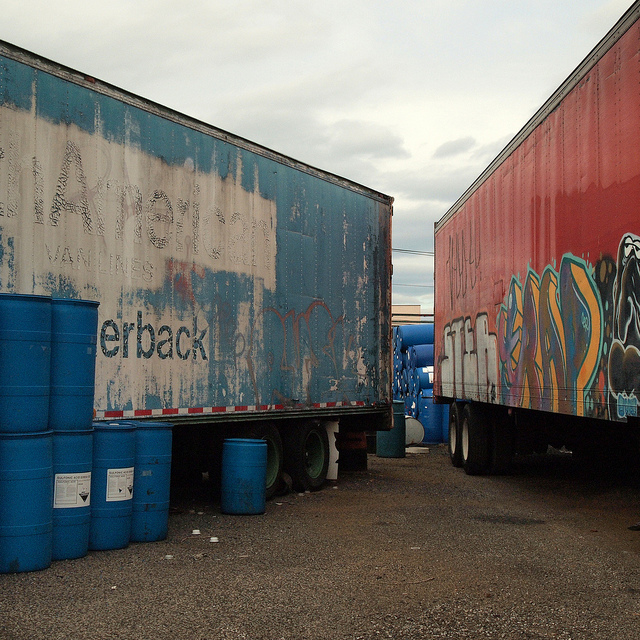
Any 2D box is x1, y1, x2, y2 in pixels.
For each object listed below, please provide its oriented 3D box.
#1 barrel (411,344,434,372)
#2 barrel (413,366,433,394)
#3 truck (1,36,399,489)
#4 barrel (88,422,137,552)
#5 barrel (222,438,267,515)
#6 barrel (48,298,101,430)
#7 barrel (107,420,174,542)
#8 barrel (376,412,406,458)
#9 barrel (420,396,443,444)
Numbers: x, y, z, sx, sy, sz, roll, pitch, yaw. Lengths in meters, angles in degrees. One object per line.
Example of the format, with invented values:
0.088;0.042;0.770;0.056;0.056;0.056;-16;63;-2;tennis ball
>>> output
2.772;0.990;18.526;0.511;0.590;0.468;4;19;-1;barrel
2.754;1.628;18.335;0.487;0.713;0.568;1;-6;-6;barrel
-1.790;-0.305;8.788;2.377;3.782;5.432;-4;-13;33;truck
-1.816;1.444;6.040;0.349;1.102;0.392;2;-2;37;barrel
-0.878;1.844;7.979;0.504;0.878;0.262;1;-6;-13;barrel
-2.070;0.376;5.771;0.301;1.116;0.331;10;3;22;barrel
-1.873;1.518;6.414;0.594;1.442;0.756;1;-10;-4;barrel
1.609;2.516;15.037;0.667;1.619;0.865;1;-7;1;barrel
2.950;2.684;18.055;0.591;1.231;0.646;-1;-6;0;barrel
